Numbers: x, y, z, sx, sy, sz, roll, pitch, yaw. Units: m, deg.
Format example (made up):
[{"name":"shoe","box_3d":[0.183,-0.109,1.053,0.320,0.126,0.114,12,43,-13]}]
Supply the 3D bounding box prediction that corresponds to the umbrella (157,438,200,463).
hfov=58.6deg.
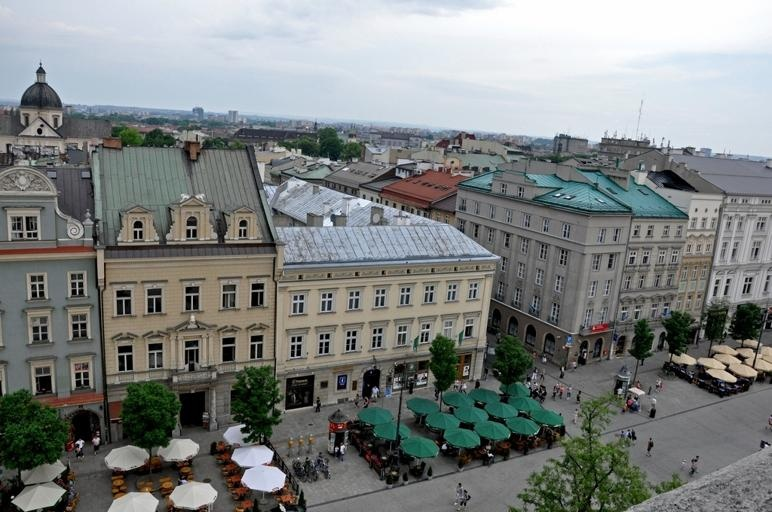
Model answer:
[{"name":"umbrella","box_3d":[-19.876,19.166,67.233,3.239,1.211,3.031,-3,17,-32]}]

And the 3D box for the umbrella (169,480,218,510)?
[{"name":"umbrella","box_3d":[-17.415,21.815,62.225,3.601,1.822,2.069,-3,15,-11]}]

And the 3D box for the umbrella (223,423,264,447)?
[{"name":"umbrella","box_3d":[-14.720,18.573,70.095,3.181,1.243,2.964,13,20,-10]}]

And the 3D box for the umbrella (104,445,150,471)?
[{"name":"umbrella","box_3d":[-24.573,19.223,65.488,3.323,1.332,2.938,11,22,-8]}]
